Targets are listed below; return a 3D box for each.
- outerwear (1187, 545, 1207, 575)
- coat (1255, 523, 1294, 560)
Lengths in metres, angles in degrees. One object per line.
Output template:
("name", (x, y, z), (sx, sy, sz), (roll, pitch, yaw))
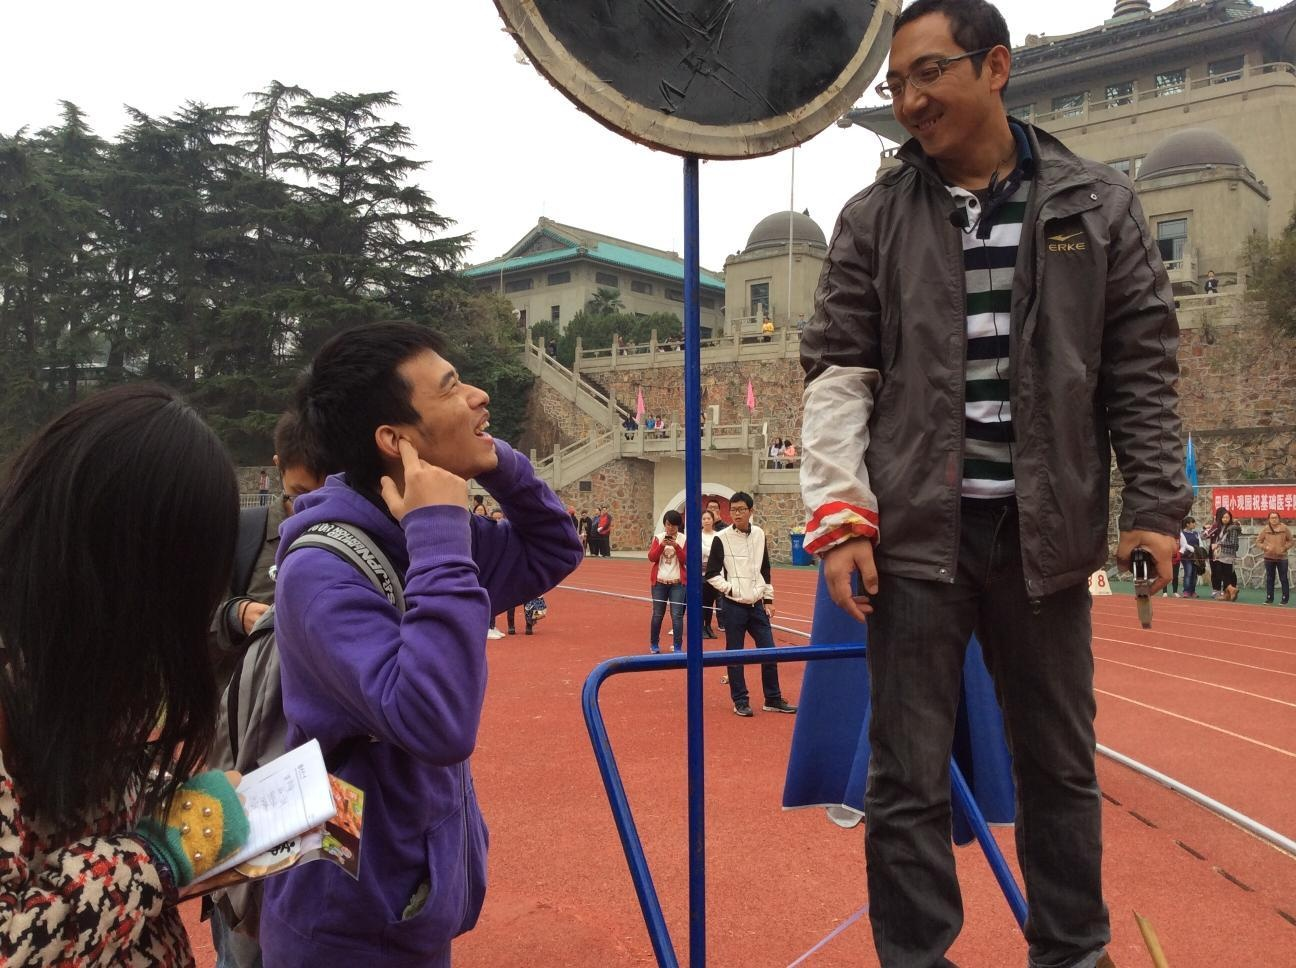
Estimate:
("outerwear", (10.048, 1.358, 18.219), (0.559, 0.643, 0.250), (-4, 6, -44))
("coat", (10.807, 0.994, 17.160), (0.386, 0.686, 0.644), (26, -20, -37))
